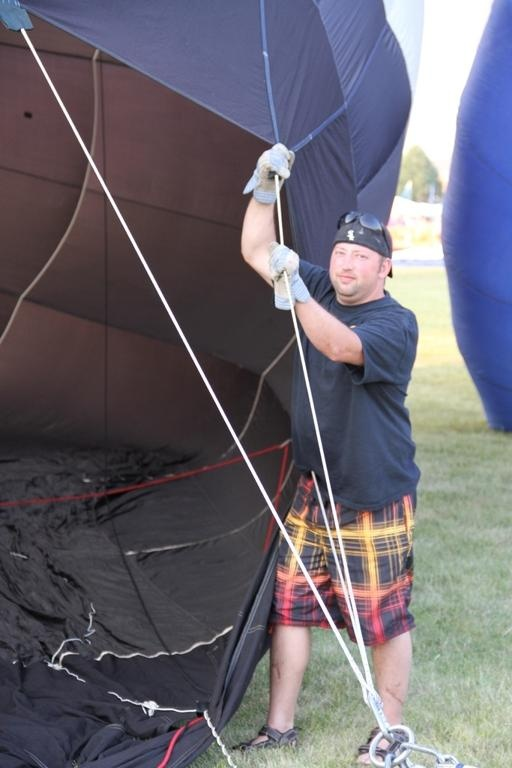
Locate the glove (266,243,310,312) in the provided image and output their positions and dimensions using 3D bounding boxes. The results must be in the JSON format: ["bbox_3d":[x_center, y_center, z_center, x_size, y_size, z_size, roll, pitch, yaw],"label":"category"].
[{"bbox_3d":[0.085,-0.251,1.987,0.119,0.143,0.045,3,11,35],"label":"glove"}]

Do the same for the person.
[{"bbox_3d":[0.234,0.214,2.368,0.557,1.792,0.703,0,12,0],"label":"person"}]

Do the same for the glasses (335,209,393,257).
[{"bbox_3d":[0.314,-0.433,2.323,0.142,0.086,0.143,18,-9,25],"label":"glasses"}]

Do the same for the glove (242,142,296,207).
[{"bbox_3d":[0.038,-0.594,2.294,0.131,0.171,0.169,1,11,1],"label":"glove"}]

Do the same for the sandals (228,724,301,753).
[{"bbox_3d":[0.040,1.050,2.402,0.178,0.065,0.072,2,-13,-3],"label":"sandals"}]
